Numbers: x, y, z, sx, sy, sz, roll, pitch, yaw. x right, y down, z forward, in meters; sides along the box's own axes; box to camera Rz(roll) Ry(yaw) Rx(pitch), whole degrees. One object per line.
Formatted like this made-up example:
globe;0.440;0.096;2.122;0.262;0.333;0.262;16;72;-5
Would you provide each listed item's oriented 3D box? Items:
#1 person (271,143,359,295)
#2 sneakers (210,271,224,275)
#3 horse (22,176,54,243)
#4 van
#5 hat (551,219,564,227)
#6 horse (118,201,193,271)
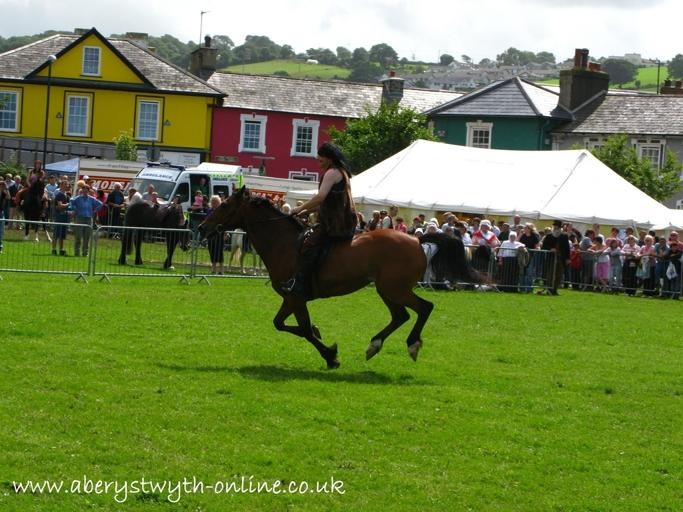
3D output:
person;-0.271;-0.572;17.985;1.055;2.253;0.643;5;1;1
sneakers;-3.061;0.429;27.300;0.319;0.123;0.105;5;-4;-6
horse;-9.114;-1.342;32.628;0.667;1.596;2.765;12;-11;-19
van;-5.387;-2.280;37.760;2.486;2.454;4.446;2;1;41
hat;5.882;-0.896;29.848;0.198;0.226;0.251;4;34;-17
horse;-4.712;-0.555;29.357;2.563;1.617;0.699;6;14;36
